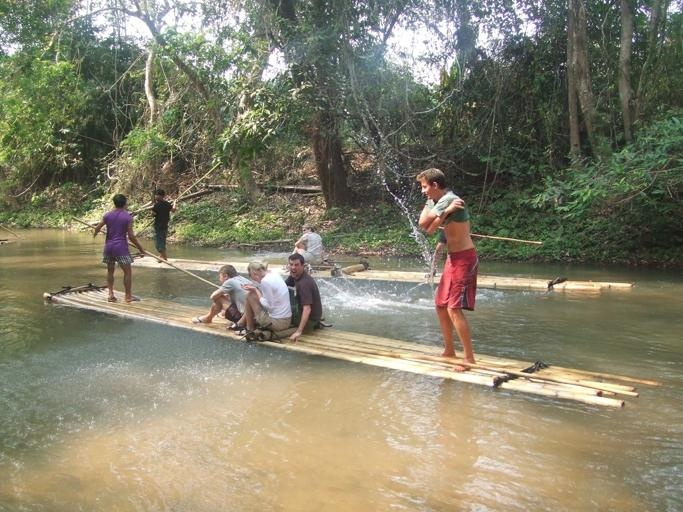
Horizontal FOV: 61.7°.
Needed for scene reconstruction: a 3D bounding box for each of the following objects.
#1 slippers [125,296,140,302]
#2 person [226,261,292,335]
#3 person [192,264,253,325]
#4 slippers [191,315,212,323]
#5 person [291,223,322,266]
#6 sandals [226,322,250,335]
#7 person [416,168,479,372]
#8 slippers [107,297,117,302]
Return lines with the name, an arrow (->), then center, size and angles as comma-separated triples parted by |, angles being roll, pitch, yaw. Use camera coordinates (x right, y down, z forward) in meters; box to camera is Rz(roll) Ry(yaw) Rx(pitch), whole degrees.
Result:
slippers -> -3.649, 0.757, 9.982 | 0.167, 0.065, 0.091 | -5, 12, -12
person -> -1.052, 0.604, 7.897 | 0.995, 1.039, 0.614 | 2, 4, 14
person -> -1.697, 0.591, 8.659 | 1.104, 0.901, 0.522 | 1, 1, 30
slippers -> -2.124, 0.959, 8.628 | 0.126, 0.081, 0.223 | -4, -12, 41
person -> -0.787, -0.169, 13.103 | 0.780, 1.113, 0.567 | 2, -13, 20
sandals -> -1.507, 1.053, 8.220 | 0.383, 0.139, 0.137 | 8, 9, 11
person -> 1.277, 0.150, 6.679 | 0.769, 2.286, 0.603 | 9, 16, 35
slippers -> -4.031, 0.761, 10.023 | 0.082, 0.088, 0.222 | 0, -2, -24
